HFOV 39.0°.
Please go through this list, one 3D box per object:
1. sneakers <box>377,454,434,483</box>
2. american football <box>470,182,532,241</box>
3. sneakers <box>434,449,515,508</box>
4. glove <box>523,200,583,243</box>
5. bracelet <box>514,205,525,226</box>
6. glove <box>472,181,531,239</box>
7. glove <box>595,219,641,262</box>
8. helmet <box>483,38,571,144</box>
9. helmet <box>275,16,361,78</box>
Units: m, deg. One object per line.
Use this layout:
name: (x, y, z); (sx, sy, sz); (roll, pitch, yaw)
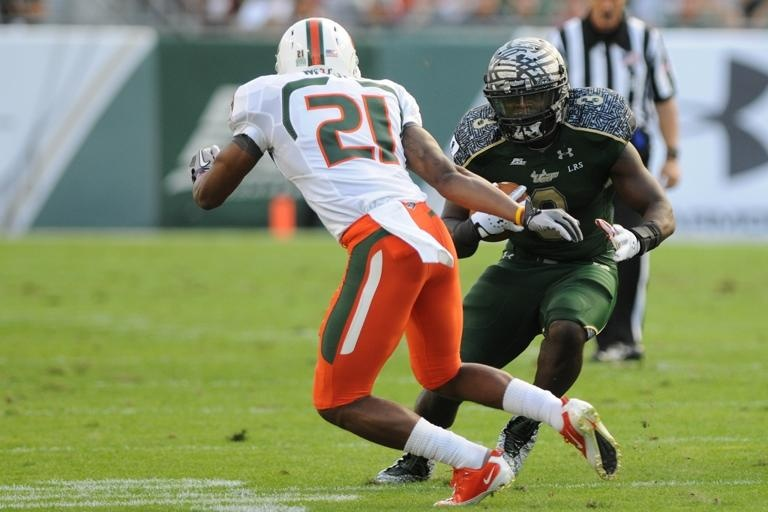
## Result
sneakers: (0.123, 1.127, 5.756); (0.349, 0.146, 0.116); (0, -1, -16)
american football: (0.630, -0.270, 5.500); (0.217, 0.197, 0.173); (-26, -8, 12)
sneakers: (0.443, 1.089, 5.316); (0.351, 0.286, 0.168); (4, 11, 20)
glove: (0.882, -0.183, 5.536); (0.283, 0.123, 0.088); (19, 52, -34)
bracelet: (0.669, -0.199, 5.304); (0.052, 0.077, 0.061); (11, 59, 9)
glove: (0.640, -0.277, 5.725); (0.284, 0.323, 0.257); (14, 58, 20)
glove: (1.217, -0.075, 5.523); (0.238, 0.174, 0.110); (40, 36, -10)
helmet: (0.789, -0.849, 5.757); (0.406, 0.449, 0.553); (-3, 34, 23)
helmet: (-0.337, -1.086, 5.646); (0.382, 0.327, 0.285); (-2, 14, -15)
